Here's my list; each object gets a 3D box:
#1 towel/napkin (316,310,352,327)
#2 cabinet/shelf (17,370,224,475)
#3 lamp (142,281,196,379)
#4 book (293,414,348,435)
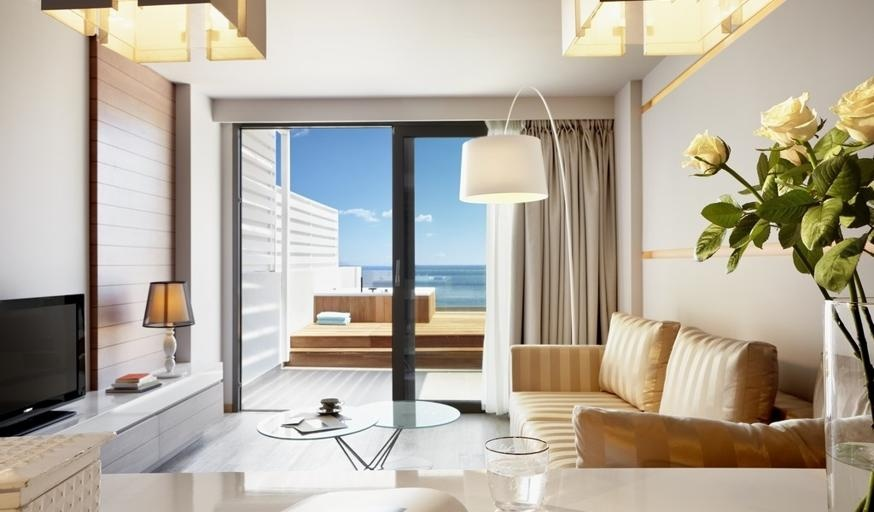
[{"bbox_3d":[-1.331,0.811,7.203,0.430,0.147,0.378,1,2,-8],"label":"towel/napkin"},{"bbox_3d":[-2.167,1.250,3.868,0.481,0.462,1.695,1,0,6],"label":"cabinet/shelf"},{"bbox_3d":[-2.149,0.561,4.401,0.337,0.722,0.485,0,2,-34],"label":"lamp"},{"bbox_3d":[-0.728,1.051,3.474,0.325,0.025,0.278,1,2,-12],"label":"book"}]
